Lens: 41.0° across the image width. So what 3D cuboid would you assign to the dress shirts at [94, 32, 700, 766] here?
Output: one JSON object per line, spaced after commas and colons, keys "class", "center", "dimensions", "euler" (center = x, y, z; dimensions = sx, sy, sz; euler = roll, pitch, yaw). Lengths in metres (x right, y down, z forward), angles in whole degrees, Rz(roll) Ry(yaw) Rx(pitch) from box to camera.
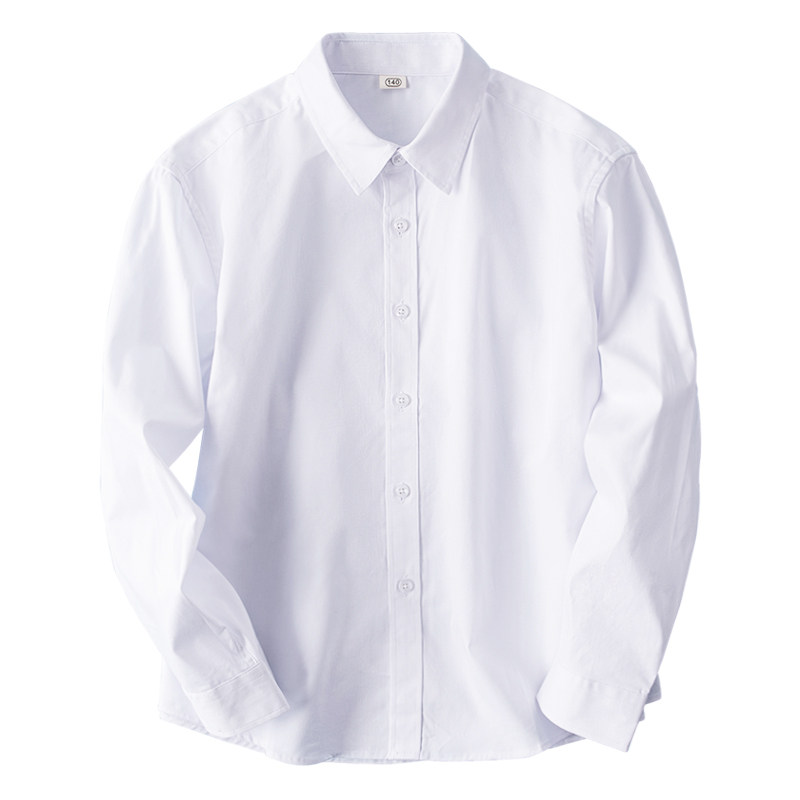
{"class": "dress shirts", "center": [0.000, 0.039, 1.832], "dimensions": [1.048, 1.422, 0.184], "euler": [-1, 4, 0]}
